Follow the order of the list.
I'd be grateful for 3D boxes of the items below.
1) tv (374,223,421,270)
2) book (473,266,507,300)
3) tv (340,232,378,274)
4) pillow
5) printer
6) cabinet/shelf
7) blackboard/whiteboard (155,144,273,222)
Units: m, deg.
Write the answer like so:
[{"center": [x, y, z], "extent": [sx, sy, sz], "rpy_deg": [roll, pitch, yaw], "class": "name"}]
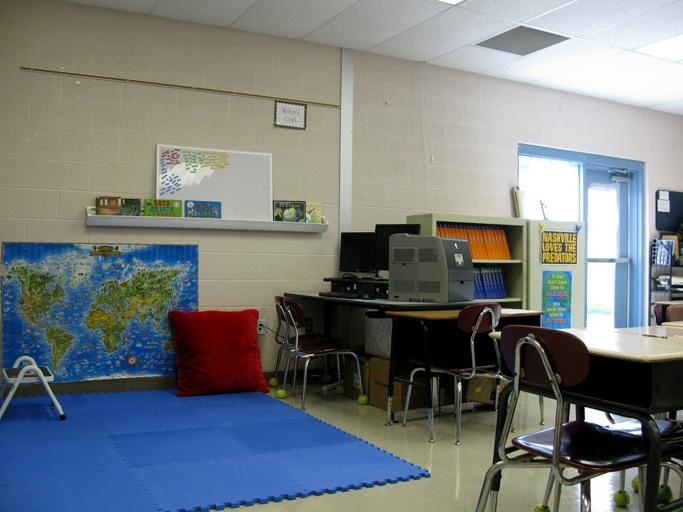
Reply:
[{"center": [0.527, -0.074, 5.063], "extent": [0.405, 0.435, 0.045], "rpy_deg": [-7, -14, 41], "class": "tv"}, {"center": [1.667, 0.313, 6.140], "extent": [0.423, 0.401, 0.100], "rpy_deg": [1, -7, -29], "class": "book"}, {"center": [0.185, -0.032, 5.533], "extent": [0.417, 0.419, 0.043], "rpy_deg": [1, -6, 38], "class": "tv"}, {"center": [-1.172, 0.889, 4.952], "extent": [0.744, 0.640, 0.366], "rpy_deg": [-3, 0, -21], "class": "pillow"}, {"center": [0.842, 0.115, 5.060], "extent": [0.809, 0.601, 0.788], "rpy_deg": [1, -2, -31], "class": "printer"}, {"center": [1.230, 0.059, 5.417], "extent": [1.040, 1.001, 0.326], "rpy_deg": [4, -7, -33], "class": "cabinet/shelf"}, {"center": [-1.277, -0.694, 5.222], "extent": [0.783, 0.490, 0.033], "rpy_deg": [3, -10, -24], "class": "blackboard/whiteboard"}]
